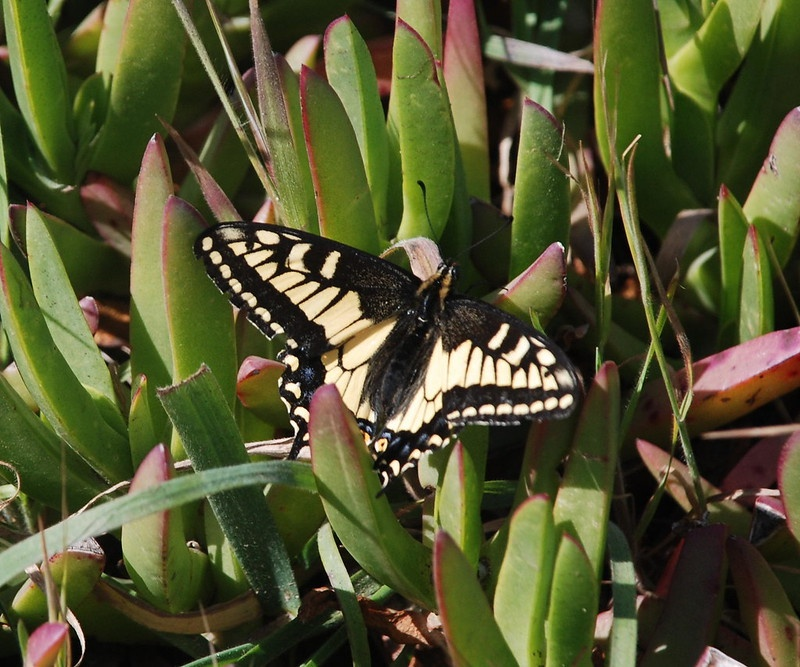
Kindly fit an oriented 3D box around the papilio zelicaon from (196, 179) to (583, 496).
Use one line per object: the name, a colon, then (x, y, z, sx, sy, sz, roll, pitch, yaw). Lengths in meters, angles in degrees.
papilio zelicaon: (-0.003, 0.006, 1.422, 0.489, 0.371, 0.308, -2, 37, 12)
